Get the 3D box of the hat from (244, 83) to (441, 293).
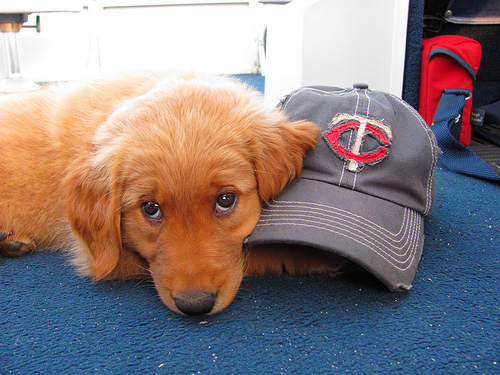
[{"bbox_3d":[0.370,-0.082,1.732,0.650,0.427,0.908,15,37,17],"label":"hat"}]
